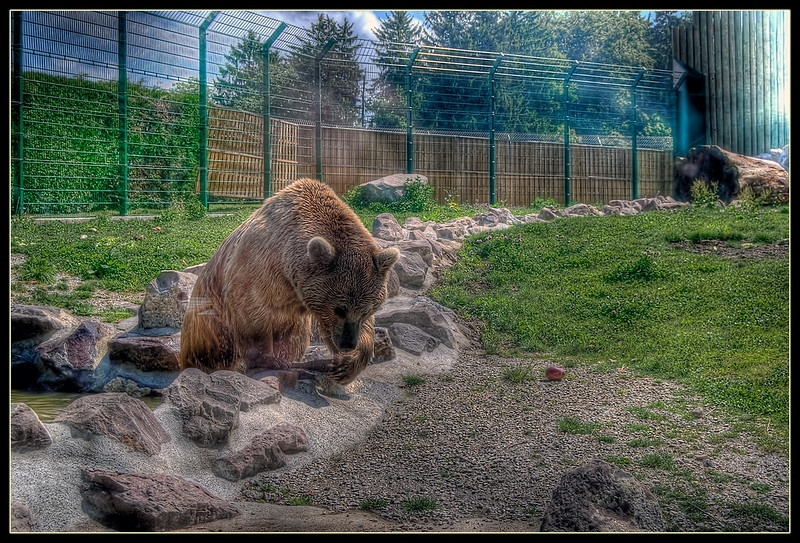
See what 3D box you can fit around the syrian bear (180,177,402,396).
[{"bbox_3d":[-1.109,0.193,8.744,1.560,2.251,3.082,7,-6,-42],"label":"syrian bear"}]
